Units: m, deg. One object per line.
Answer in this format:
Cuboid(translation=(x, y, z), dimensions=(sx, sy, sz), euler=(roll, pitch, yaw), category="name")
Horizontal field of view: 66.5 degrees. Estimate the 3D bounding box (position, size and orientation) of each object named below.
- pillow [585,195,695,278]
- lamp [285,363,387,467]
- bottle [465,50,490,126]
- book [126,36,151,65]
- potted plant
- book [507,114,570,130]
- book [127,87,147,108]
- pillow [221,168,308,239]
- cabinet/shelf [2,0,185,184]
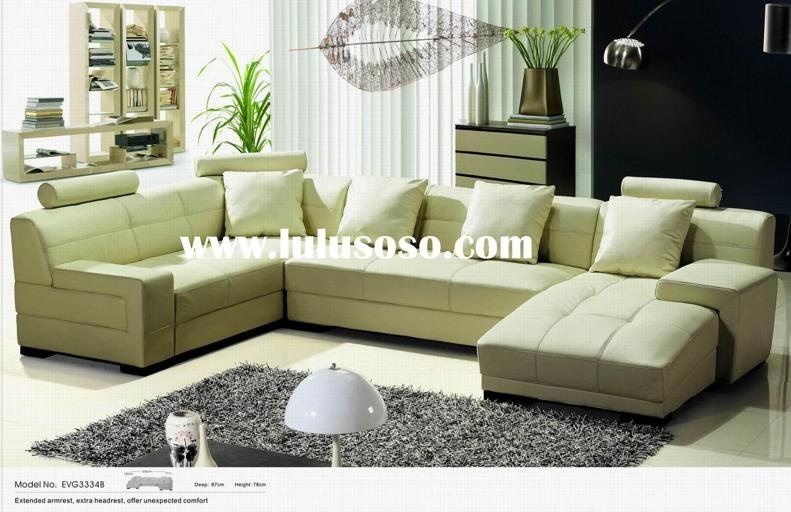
Cuboid(translation=(1.747, -0.128, 4.296), dimensions=(0.605, 0.516, 0.335), euler=(9, 22, 25), category="pillow")
Cuboid(translation=(-0.203, 0.536, 2.116), dimensions=(0.274, 0.313, 0.291), euler=(5, 16, 19), category="lamp")
Cuboid(translation=(0.897, -1.758, 6.400), dimensions=(0.229, 0.696, 0.399), euler=(-1, 20, -2), category="bottle")
Cuboid(translation=(-4.217, -3.364, 9.976), dimensions=(0.418, 0.409, 0.398), euler=(-6, 17, -28), category="book")
Cuboid(translation=(1.526, -1.878, 6.242), dimensions=(0.779, 0.931, 0.730), euler=(5, 20, 15), category="potted plant")
Cuboid(translation=(1.453, -1.343, 6.084), dimensions=(0.598, 0.123, 0.325), euler=(1, 20, 3), category="book")
Cuboid(translation=(-4.323, -2.638, 10.185), dimensions=(0.283, 0.375, 0.380), euler=(-7, 17, -31), category="book")
Cuboid(translation=(-1.129, -0.429, 5.201), dimensions=(0.566, 0.482, 0.196), euler=(-1, -7, -5), category="pillow")
Cuboid(translation=(-4.781, -2.545, 9.427), dimensions=(0.784, 3.174, 3.438), euler=(7, 11, 31), category="cabinet/shelf")
